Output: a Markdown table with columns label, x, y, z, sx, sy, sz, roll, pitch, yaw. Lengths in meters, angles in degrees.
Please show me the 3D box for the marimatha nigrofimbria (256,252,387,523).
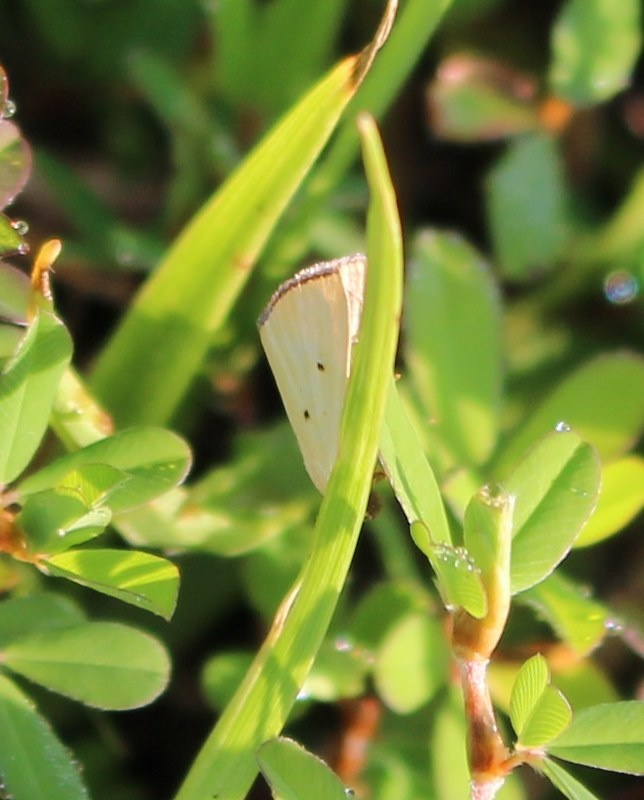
| label | x | y | z | sx | sy | sz | roll | pitch | yaw |
| --- | --- | --- | --- | --- | --- | --- | --- | --- | --- |
| marimatha nigrofimbria | 0.010 | -0.017 | 0.556 | 0.035 | 0.107 | 0.120 | 9 | -16 | -28 |
